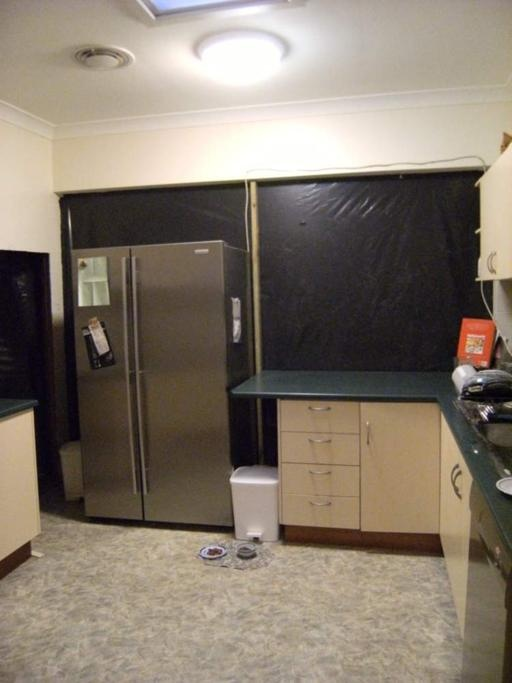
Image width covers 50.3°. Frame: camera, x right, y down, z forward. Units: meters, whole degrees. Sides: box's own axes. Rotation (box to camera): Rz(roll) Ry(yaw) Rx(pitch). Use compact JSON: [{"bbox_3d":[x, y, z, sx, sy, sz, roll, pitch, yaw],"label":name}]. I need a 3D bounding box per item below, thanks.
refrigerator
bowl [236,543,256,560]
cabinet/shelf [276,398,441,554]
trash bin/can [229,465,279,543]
[{"bbox_3d":[-0.560,0.244,3.101,0.940,1.543,0.304,-1,4,9],"label":"refrigerator"},{"bbox_3d":[-0.048,1.058,2.744,0.103,0.028,0.133,-2,4,-4],"label":"bowl"},{"bbox_3d":[0.542,0.648,2.699,0.728,0.690,0.315,0,-1,16],"label":"cabinet/shelf"},{"bbox_3d":[0.036,0.840,2.996,0.280,0.381,0.373,-1,2,11],"label":"trash bin/can"}]
